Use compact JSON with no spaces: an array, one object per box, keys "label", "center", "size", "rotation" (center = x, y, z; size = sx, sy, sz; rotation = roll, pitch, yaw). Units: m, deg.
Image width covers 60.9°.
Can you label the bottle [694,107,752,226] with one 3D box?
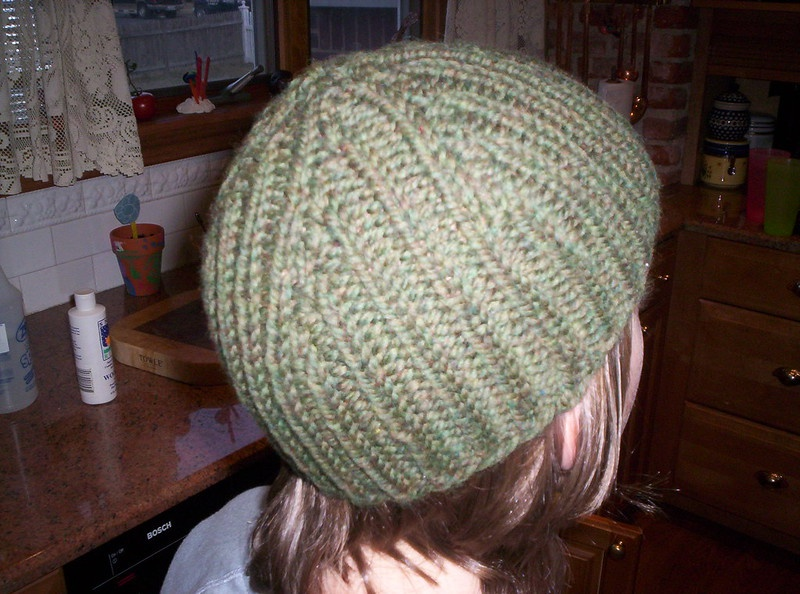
[{"label":"bottle","center":[1.240,-0.580,2.642],"size":[0.188,0.314,0.200],"rotation":[-1,20,0]}]
